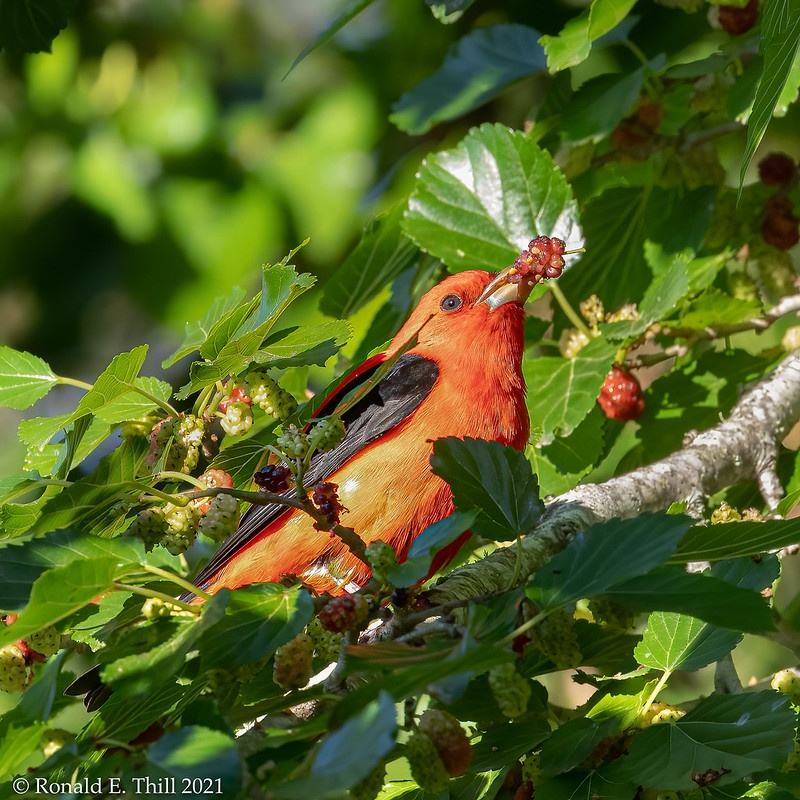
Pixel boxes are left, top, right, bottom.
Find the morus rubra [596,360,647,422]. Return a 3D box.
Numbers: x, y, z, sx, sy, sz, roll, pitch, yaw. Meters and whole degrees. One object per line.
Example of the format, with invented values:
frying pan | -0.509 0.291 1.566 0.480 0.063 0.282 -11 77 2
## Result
morus rubra | 0.565 -0.022 2.938 0.127 0.144 0.047 -37 31 -20
